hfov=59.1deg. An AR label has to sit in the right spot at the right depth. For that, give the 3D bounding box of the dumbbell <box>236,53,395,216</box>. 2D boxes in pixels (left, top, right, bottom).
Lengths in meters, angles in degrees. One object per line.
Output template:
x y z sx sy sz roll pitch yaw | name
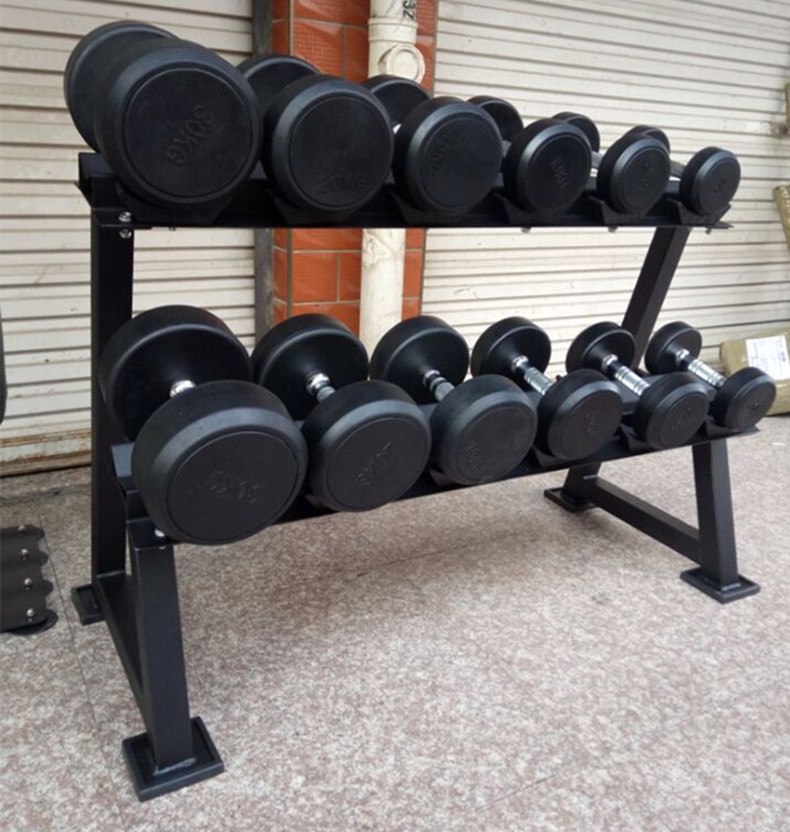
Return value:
-0.057 -0.374 1.045 0.190 0.189 0.289 3 10 3 | dumbbell

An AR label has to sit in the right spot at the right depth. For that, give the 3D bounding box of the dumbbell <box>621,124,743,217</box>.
0.558 -0.502 1.430 0.125 0.130 0.283 -5 28 -24 | dumbbell

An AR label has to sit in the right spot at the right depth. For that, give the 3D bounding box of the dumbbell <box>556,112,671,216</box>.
0.389 -0.494 1.317 0.119 0.124 0.275 -17 37 -11 | dumbbell

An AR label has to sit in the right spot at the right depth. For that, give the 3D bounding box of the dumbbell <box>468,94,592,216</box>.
0.219 -0.478 1.243 0.137 0.145 0.312 -15 36 -10 | dumbbell

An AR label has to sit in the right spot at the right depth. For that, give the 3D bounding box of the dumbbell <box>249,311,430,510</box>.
-0.101 -0.017 1.194 0.197 0.193 0.423 -3 26 -24 | dumbbell

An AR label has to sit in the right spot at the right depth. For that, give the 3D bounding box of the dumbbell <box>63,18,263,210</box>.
-0.308 -0.400 0.907 0.182 0.245 0.320 -10 24 -31 | dumbbell

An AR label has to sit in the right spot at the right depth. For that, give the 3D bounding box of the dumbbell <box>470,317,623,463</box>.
0.292 -0.059 1.363 0.172 0.170 0.297 -10 34 -22 | dumbbell

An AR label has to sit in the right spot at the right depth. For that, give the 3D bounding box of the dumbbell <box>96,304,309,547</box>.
-0.279 0.001 1.021 0.242 0.218 0.353 -8 35 -25 | dumbbell

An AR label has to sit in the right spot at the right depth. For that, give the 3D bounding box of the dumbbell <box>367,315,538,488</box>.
0.103 -0.028 1.228 0.188 0.184 0.287 -19 26 -6 | dumbbell

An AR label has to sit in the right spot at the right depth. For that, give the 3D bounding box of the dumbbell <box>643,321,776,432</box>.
0.793 -0.106 1.752 0.204 0.208 0.445 -2 28 -7 | dumbbell
